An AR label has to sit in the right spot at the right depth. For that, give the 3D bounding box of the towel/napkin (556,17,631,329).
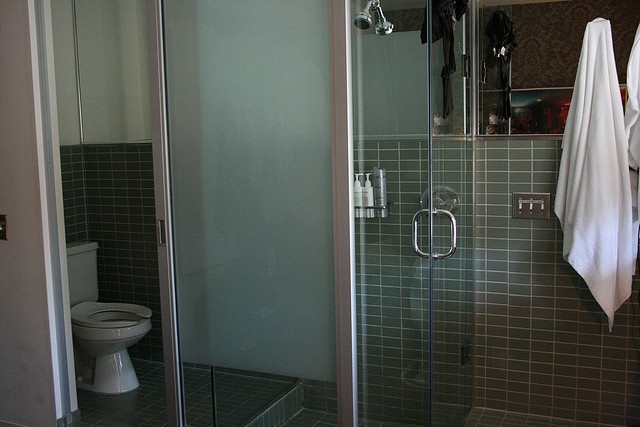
[{"bbox_3d":[1.676,-0.233,3.297,0.445,1.866,0.240,-3,10,0],"label":"towel/napkin"}]

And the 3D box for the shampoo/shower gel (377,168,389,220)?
[{"bbox_3d":[0.313,-0.107,2.778,0.063,0.251,0.018,-1,10,10],"label":"shampoo/shower gel"}]
